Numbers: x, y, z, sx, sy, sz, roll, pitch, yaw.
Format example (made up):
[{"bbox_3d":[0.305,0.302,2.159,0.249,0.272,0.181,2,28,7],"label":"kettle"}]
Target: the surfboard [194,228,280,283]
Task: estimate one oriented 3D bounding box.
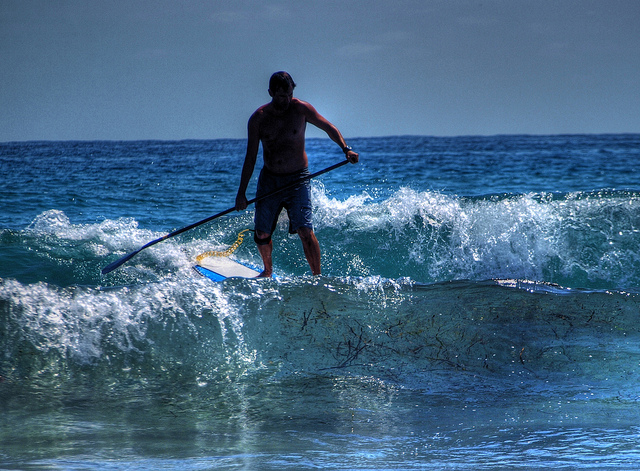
[{"bbox_3d":[-1.171,0.316,13.026,0.509,0.570,1.589,6,-1,-20],"label":"surfboard"}]
